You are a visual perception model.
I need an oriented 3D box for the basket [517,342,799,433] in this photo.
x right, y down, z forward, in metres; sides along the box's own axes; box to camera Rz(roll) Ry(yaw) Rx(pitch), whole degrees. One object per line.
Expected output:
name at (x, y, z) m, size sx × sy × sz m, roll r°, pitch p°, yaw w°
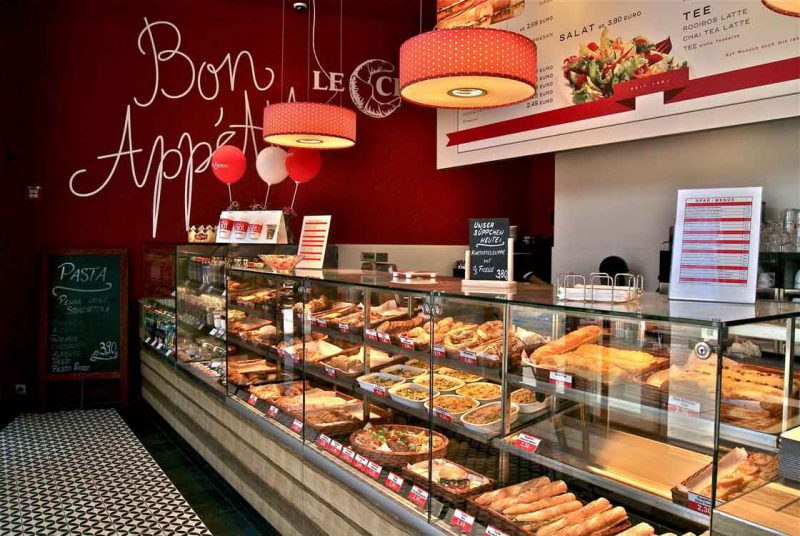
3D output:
basket at (1.067, 0.453, 2.021) m, size 1.006 × 0.314 × 0.311 m, roll 2°, pitch 5°, yaw 15°

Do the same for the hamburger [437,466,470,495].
hamburger at (0.266, 1.030, 2.512) m, size 0.111 × 0.061 × 0.127 m, roll 4°, pitch 9°, yaw -8°

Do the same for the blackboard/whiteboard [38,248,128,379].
blackboard/whiteboard at (-3.640, 0.525, 5.978) m, size 0.805 × 1.416 × 0.173 m, roll 0°, pitch 5°, yaw -15°

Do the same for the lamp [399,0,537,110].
lamp at (0.479, -1.320, 3.506) m, size 0.951 × 0.290 × 0.925 m, roll 3°, pitch 4°, yaw 20°

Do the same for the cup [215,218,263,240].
cup at (-1.647, -0.399, 5.296) m, size 0.272 × 0.130 × 0.347 m, roll -1°, pitch -5°, yaw 20°

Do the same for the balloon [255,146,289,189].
balloon at (-1.550, -1.265, 6.312) m, size 0.428 × 0.448 × 0.407 m, roll -7°, pitch 9°, yaw -26°

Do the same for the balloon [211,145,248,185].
balloon at (-1.987, -1.221, 5.947) m, size 0.335 × 0.408 × 0.184 m, roll -1°, pitch 5°, yaw -22°

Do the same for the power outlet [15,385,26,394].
power outlet at (-4.313, 1.379, 5.826) m, size 0.110 × 0.068 × 0.102 m, roll 1°, pitch -1°, yaw -28°

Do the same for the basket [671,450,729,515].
basket at (1.126, 0.813, 1.982) m, size 0.239 × 0.059 × 0.227 m, roll -18°, pitch 11°, yaw -40°

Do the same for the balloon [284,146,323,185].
balloon at (-1.175, -1.252, 6.202) m, size 0.428 × 0.484 × 0.428 m, roll 8°, pitch 0°, yaw 22°
